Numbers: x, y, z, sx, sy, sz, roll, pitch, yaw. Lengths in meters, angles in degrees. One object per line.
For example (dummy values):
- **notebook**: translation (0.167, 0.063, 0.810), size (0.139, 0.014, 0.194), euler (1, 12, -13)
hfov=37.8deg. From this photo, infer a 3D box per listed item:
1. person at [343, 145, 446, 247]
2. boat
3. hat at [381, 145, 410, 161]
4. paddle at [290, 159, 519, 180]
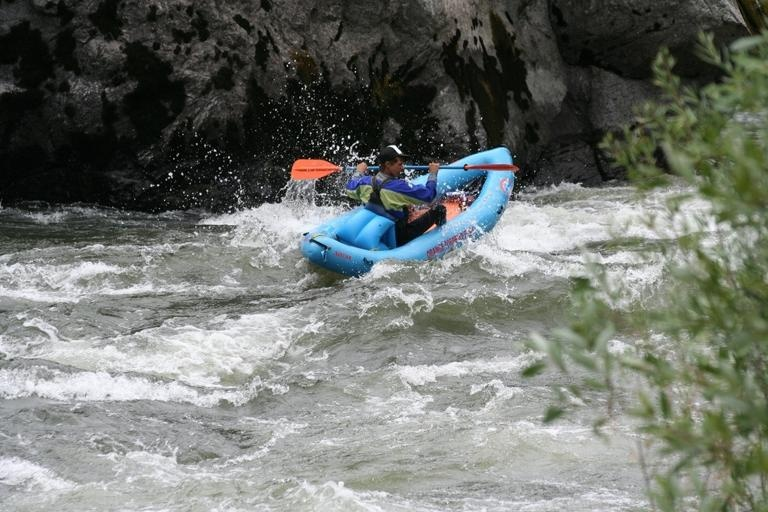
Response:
- **person**: translation (0.107, -0.646, 13.075), size (0.872, 0.842, 0.952), euler (27, -26, 23)
- **boat**: translation (0.483, -0.389, 12.776), size (2.625, 0.632, 1.233), euler (-27, 53, -27)
- **hat**: translation (0.138, -1.159, 12.715), size (0.306, 0.139, 0.189), euler (-5, 15, -6)
- **paddle**: translation (0.214, -1.044, 13.714), size (3.087, 0.397, 0.212), euler (1, -38, 6)
